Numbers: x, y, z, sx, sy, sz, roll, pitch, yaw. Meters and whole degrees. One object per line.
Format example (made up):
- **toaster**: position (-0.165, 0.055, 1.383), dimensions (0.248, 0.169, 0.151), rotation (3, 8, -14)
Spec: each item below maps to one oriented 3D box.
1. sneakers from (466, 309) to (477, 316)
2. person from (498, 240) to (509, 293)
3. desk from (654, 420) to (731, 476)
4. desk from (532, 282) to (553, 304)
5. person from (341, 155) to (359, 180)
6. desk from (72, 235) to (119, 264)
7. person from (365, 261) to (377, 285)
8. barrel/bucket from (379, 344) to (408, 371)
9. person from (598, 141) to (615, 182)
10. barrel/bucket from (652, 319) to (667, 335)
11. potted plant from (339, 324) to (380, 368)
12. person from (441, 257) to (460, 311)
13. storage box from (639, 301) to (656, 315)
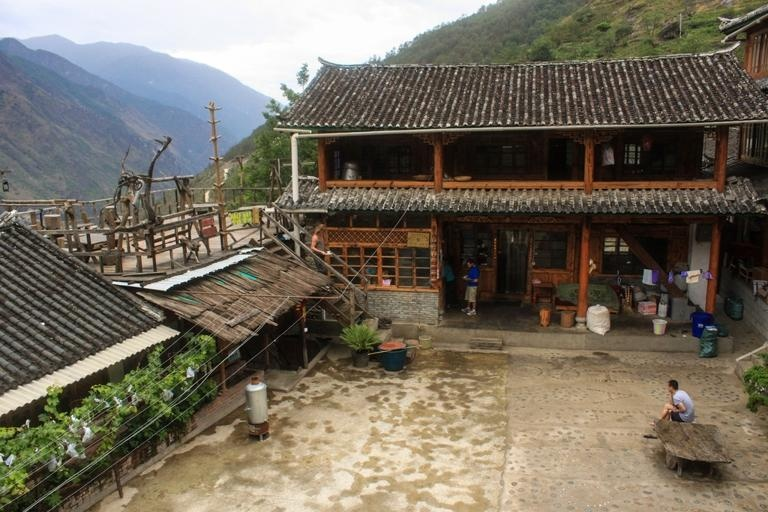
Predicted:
- **sneakers**: position (3.732, 2.406, 22.859), dimensions (0.547, 0.254, 0.165), rotation (2, 4, 5)
- **person**: position (5.407, 0.407, 24.408), dimensions (0.464, 2.371, 0.393), rotation (0, 15, 10)
- **desk**: position (8.330, 5.136, 14.647), dimensions (1.700, 0.561, 1.819), rotation (2, 15, 13)
- **desk**: position (6.986, 1.583, 23.470), dimensions (1.143, 0.808, 0.989), rotation (1, 7, 12)
- **person**: position (-1.656, -3.694, 23.210), dimensions (1.013, 0.801, 0.869), rotation (0, 6, -2)
- **desk**: position (-9.911, -0.210, 18.401), dimensions (0.980, 0.368, 1.285), rotation (-1, 19, -4)
- **person**: position (-0.532, 0.675, 22.740), dimensions (0.470, 1.016, 0.217), rotation (-1, 14, 3)
- **barrel/bucket**: position (0.342, 3.711, 19.866), dimensions (1.200, 0.656, 1.015), rotation (3, 14, 16)
- **person**: position (9.185, -3.875, 21.996), dimensions (0.649, 1.542, 1.280), rotation (3, 14, 20)
- **barrel/bucket**: position (10.773, 2.709, 20.952), dimensions (0.684, 0.413, 0.599), rotation (-6, 12, -16)
- **potted plant**: position (-1.229, 3.308, 20.554), dimensions (1.942, 1.280, 1.655), rotation (0, 8, -7)
- **person**: position (2.908, 1.123, 23.620), dimensions (0.595, 2.235, 1.506), rotation (0, 13, 8)
- **storage box**: position (10.932, 2.175, 22.361), dimensions (0.701, 0.399, 0.633), rotation (-10, 16, -29)
